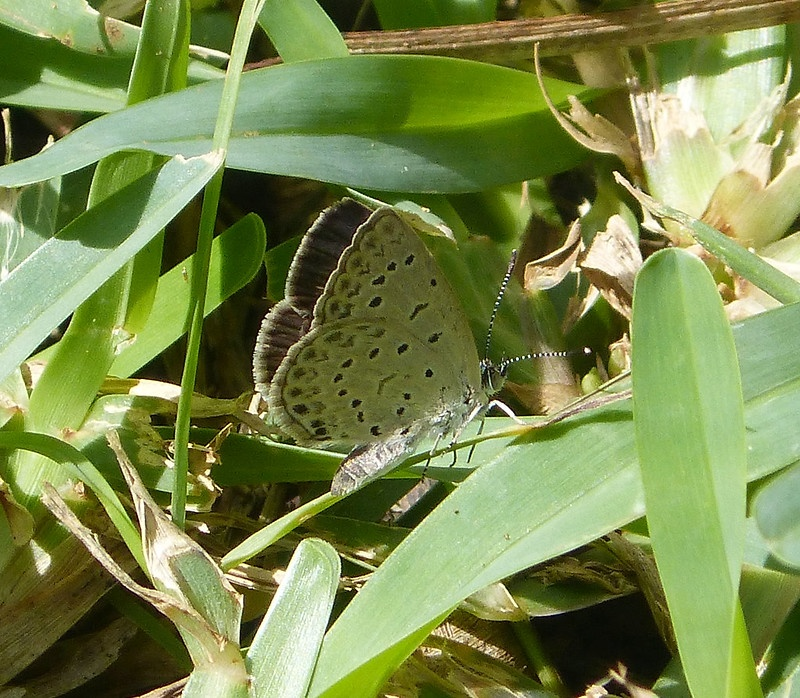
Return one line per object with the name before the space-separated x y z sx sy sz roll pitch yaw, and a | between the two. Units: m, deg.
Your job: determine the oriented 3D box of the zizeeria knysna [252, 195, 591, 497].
zizeeria knysna | -0.099 -0.050 1.538 0.708 0.471 0.311 -10 16 -40
